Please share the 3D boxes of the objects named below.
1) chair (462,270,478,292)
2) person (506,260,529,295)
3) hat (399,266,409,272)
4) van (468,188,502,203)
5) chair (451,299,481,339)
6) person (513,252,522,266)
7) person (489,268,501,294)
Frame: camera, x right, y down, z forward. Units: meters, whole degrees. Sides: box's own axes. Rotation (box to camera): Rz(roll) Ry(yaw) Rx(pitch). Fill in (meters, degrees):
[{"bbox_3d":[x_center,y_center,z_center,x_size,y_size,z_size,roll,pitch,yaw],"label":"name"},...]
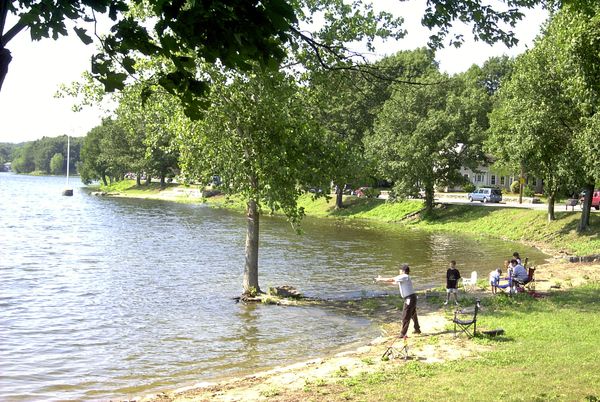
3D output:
[{"bbox_3d":[10.263,4.862,36.881,0.910,1.110,2.819,1,-2,16],"label":"chair"},{"bbox_3d":[12.191,4.261,34.435,1.045,1.860,1.124,2,-1,-39],"label":"person"},{"bbox_3d":[4.879,3.192,28.515,0.426,0.258,0.325,25,28,38],"label":"hat"},{"bbox_3d":[24.705,-0.712,80.636,1.849,1.381,3.769,-1,6,-18],"label":"van"},{"bbox_3d":[8.120,5.542,28.803,1.746,2.433,1.497,0,-4,8],"label":"chair"},{"bbox_3d":[13.550,3.642,37.945,0.349,1.121,0.469,-23,23,30],"label":"person"},{"bbox_3d":[11.185,4.645,34.962,0.480,1.368,0.871,1,-1,7],"label":"person"}]
